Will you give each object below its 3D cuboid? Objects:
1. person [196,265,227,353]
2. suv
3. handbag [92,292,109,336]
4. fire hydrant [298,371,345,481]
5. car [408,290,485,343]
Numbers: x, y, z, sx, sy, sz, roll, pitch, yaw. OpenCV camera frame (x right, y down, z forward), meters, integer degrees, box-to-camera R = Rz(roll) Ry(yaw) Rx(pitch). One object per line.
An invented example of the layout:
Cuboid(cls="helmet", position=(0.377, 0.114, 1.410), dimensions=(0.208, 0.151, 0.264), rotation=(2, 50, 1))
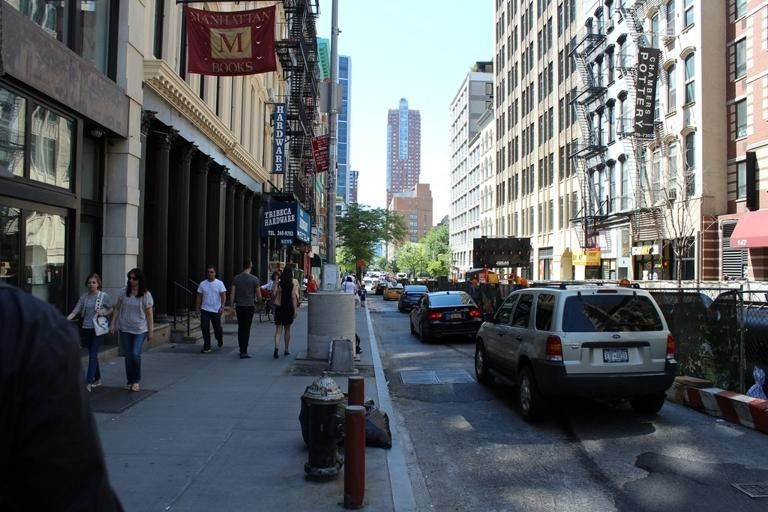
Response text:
Cuboid(cls="person", position=(-4.406, 1.374, 17.237), dimensions=(0.657, 2.304, 0.836), rotation=(0, 6, -9))
Cuboid(cls="suv", position=(3.379, 1.670, 13.446), dimensions=(1.864, 1.780, 3.681), rotation=(1, 2, -10))
Cuboid(cls="handbag", position=(-5.486, 1.144, 13.115), dimensions=(0.155, 0.834, 0.309), rotation=(18, 26, 26))
Cuboid(cls="fire hydrant", position=(-0.923, 2.541, 10.080), dimensions=(0.719, 1.465, 0.787), rotation=(1, 6, 2))
Cuboid(cls="car", position=(2.041, 2.063, 21.632), dimensions=(2.102, 1.593, 1.486), rotation=(4, 7, 21))
